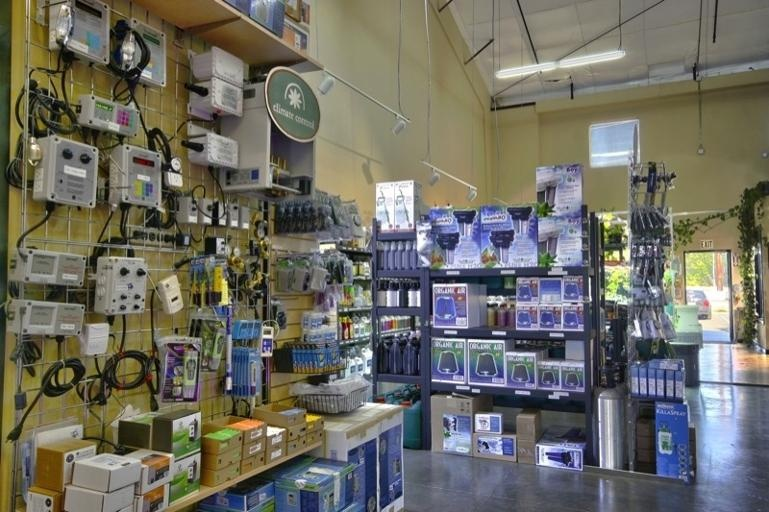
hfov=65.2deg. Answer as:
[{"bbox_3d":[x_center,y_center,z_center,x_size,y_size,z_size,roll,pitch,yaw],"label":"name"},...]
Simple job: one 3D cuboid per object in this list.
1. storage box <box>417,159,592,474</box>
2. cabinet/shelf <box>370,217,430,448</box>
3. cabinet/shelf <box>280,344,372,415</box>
[{"bbox_3d":[1.532,0.674,7.182,1.849,2.183,0.771,-1,-1,21],"label":"storage box"},{"bbox_3d":[0.185,0.984,7.763,0.785,2.731,0.778,0,4,-2],"label":"cabinet/shelf"},{"bbox_3d":[-0.480,1.197,5.572,0.503,0.485,0.706,2,-5,21],"label":"cabinet/shelf"}]
